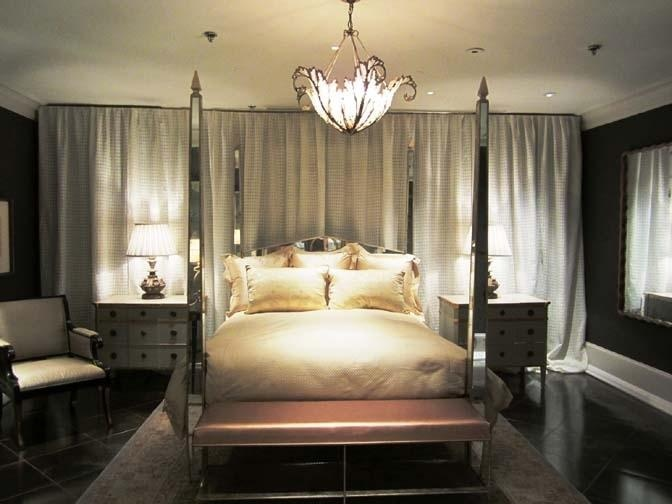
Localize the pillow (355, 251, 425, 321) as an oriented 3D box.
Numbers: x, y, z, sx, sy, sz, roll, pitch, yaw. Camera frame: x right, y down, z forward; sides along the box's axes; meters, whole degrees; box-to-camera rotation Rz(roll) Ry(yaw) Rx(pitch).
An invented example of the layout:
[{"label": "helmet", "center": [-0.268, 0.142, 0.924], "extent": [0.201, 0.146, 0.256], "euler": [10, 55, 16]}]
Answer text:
[{"label": "pillow", "center": [0.570, 0.210, 5.262], "extent": [0.547, 0.596, 0.183], "euler": [1, -27, 1]}]

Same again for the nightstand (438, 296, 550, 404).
[{"label": "nightstand", "center": [1.642, 0.893, 5.671], "extent": [0.887, 0.865, 0.744], "euler": [-1, 3, 19]}]

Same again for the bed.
[{"label": "bed", "center": [0.100, 0.284, 5.094], "extent": [2.330, 2.420, 2.919], "euler": [0, 0, 1]}]

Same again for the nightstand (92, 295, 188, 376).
[{"label": "nightstand", "center": [-1.889, 0.798, 5.655], "extent": [0.907, 0.650, 0.518], "euler": [2, 6, -10]}]
